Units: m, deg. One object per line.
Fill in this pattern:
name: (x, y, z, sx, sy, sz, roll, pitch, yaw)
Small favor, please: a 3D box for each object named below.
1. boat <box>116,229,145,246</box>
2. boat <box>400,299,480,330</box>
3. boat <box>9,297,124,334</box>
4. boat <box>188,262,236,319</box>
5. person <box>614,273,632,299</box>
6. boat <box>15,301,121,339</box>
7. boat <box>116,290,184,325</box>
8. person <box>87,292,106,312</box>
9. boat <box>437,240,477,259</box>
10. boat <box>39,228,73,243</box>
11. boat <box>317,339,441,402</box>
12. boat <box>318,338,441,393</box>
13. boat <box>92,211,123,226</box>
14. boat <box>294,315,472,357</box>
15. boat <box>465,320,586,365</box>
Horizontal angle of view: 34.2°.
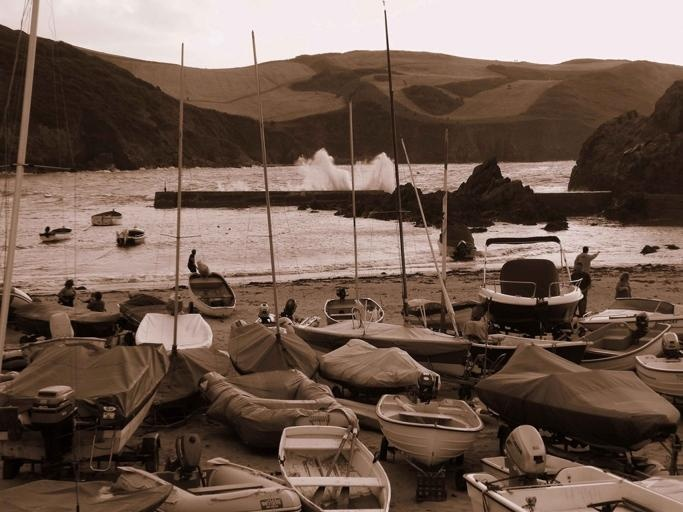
boat: (-15.911, -1.350, 83.536, 1.748, 1.474, 2.786, -2, -3, 8)
boat: (5.106, 2.933, 57.096, 2.635, 0.918, 1.788, 0, 5, -3)
boat: (-13.659, 3.014, 54.744, 3.608, 1.075, 2.307, 5, 10, 0)
boat: (-7.145, 2.023, 61.216, 1.621, 1.051, 4.478, -7, 29, -11)
person: (14.594, 1.512, 57.667, 0.738, 1.313, 2.271, -2, -3, 13)
boat: (-13.506, 3.095, 54.535, 3.615, 1.075, 2.274, 4, 6, 15)
boat: (-9.824, 2.565, 56.337, 2.185, 0.792, 2.087, -8, 21, -26)
person: (-12.913, 2.433, 58.628, 0.739, 1.611, 0.947, -2, 18, -23)
boat: (8.452, -0.459, 77.825, 1.991, 1.469, 1.029, -1, -2, 6)
boat: (-21.119, -1.557, 81.691, 1.458, 1.266, 3.051, -2, -3, 18)
boat: (1.542, 5.278, 51.280, 4.817, 1.578, 2.618, 11, 24, 29)
boat: (1.644, 5.140, 51.356, 4.443, 1.386, 2.355, 9, 19, 21)
boat: (-18.882, -3.080, 90.282, 1.122, 0.716, 2.096, -1, 3, 18)
boat: (1.995, 3.936, 53.961, 7.926, 1.608, 2.709, 5, -7, 12)
boat: (8.352, 4.292, 52.791, 6.072, 2.023, 2.099, 4, 11, 16)
